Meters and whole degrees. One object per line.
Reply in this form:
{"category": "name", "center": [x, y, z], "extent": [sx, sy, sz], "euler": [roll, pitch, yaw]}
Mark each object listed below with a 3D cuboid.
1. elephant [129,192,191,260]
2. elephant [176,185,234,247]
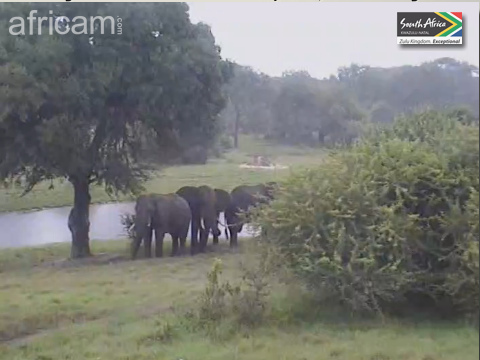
{"category": "elephant", "center": [-2.650, 1.476, 20.182], "extent": [1.246, 2.262, 2.538], "euler": [0, -4, 37]}
{"category": "elephant", "center": [-1.205, 1.051, 21.303], "extent": [1.765, 2.057, 2.798], "euler": [-4, 13, -11]}
